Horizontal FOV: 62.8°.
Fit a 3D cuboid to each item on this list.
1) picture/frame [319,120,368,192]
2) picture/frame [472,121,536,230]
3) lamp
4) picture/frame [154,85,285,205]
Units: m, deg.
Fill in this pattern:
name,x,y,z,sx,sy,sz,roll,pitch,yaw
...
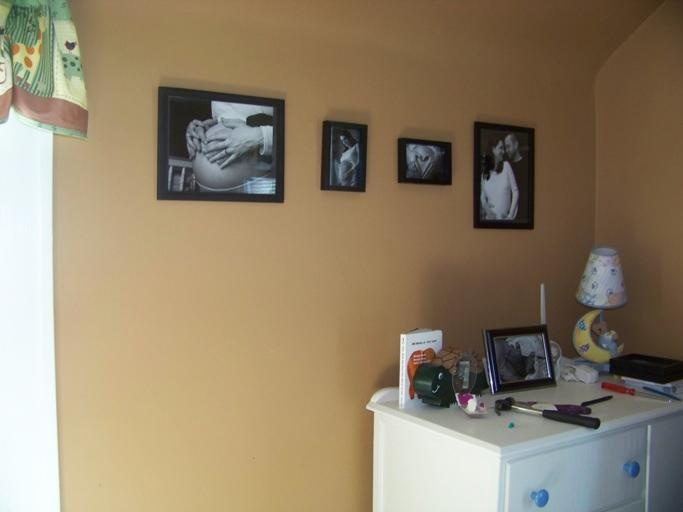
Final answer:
name,x,y,z,sx,sy,sz,roll,pitch,yaw
picture/frame,-0.002,-0.423,2.348,0.266,0.407,0.048,1,0,-30
picture/frame,0.756,-0.389,2.657,0.461,0.694,0.044,0,0,-30
lamp,1.172,0.222,2.549,0.209,0.494,0.326,1,0,31
picture/frame,-0.493,-0.433,2.166,0.415,0.402,0.020,2,-4,-24
